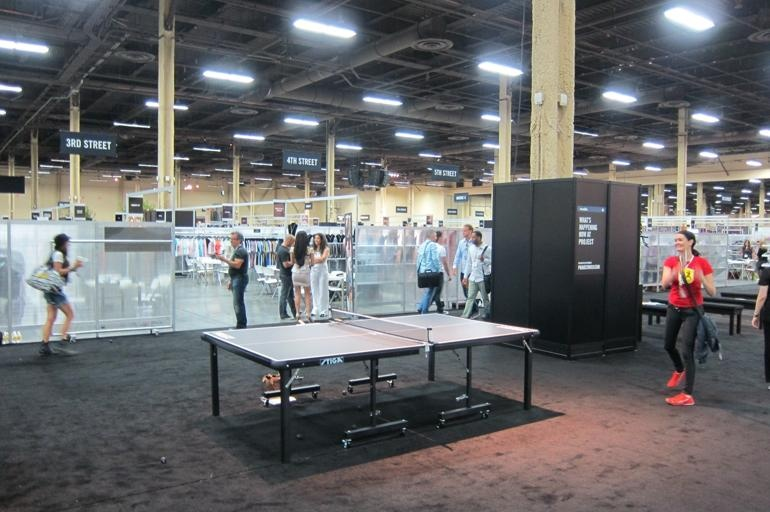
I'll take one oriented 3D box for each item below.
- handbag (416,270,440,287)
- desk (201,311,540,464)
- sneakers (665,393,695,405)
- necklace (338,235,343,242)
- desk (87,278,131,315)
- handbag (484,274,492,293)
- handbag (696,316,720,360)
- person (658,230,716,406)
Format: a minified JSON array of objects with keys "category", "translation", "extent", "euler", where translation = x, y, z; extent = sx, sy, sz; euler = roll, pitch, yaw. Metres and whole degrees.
[{"category":"handbag","translation":[0.945,0.526,11.382],"extent":[0.481,0.265,0.351],"euler":[-1,2,12]},{"category":"desk","translation":[-0.224,1.396,6.740],"extent":[3.622,1.248,1.757],"euler":[-3,9,-22]},{"category":"sneakers","translation":[3.944,1.906,7.115],"extent":[0.422,0.141,0.147],"euler":[1,-7,0]},{"category":"necklace","translation":[-1.196,-0.440,14.754],"extent":[0.219,0.174,0.101],"euler":[1,-7,-3]},{"category":"desk","translation":[-5.367,0.808,10.741],"extent":[0.870,0.677,0.746],"euler":[0,0,-34]},{"category":"handbag","translation":[2.146,0.598,11.211],"extent":[0.078,0.416,0.222],"euler":[8,13,37]},{"category":"handbag","translation":[4.198,1.132,7.031],"extent":[0.266,0.718,0.432],"euler":[6,11,29]},{"category":"person","translation":[4.078,0.792,7.344],"extent":[0.604,2.246,1.294],"euler":[6,11,28]}]
